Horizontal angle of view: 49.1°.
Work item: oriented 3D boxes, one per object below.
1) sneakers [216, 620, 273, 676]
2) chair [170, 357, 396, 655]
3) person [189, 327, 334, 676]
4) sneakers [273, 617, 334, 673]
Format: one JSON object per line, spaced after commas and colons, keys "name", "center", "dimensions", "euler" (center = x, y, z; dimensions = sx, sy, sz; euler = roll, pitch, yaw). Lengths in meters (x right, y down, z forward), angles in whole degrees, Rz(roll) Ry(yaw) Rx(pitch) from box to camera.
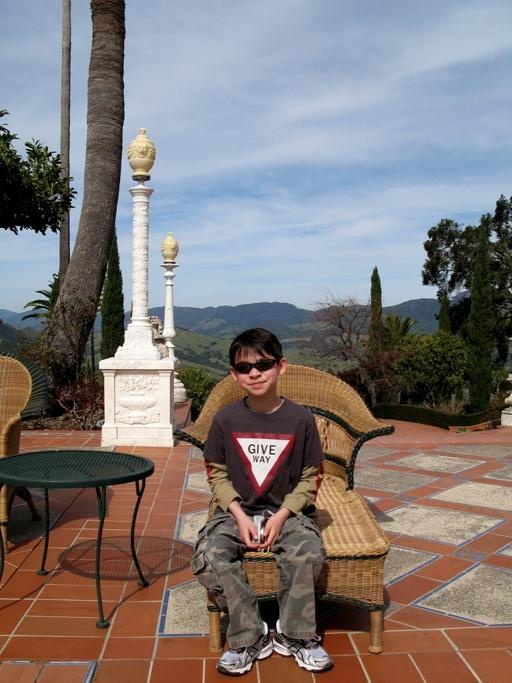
{"name": "sneakers", "center": [-0.029, 1.082, 1.953], "dimensions": [0.091, 0.105, 0.239], "euler": [-7, -23, 21]}
{"name": "chair", "center": [0.195, 0.664, 2.579], "dimensions": [0.885, 0.861, 1.081], "euler": [0, 10, 2]}
{"name": "person", "center": [0.018, 0.533, 2.054], "dimensions": [0.456, 1.162, 0.392], "euler": [1, -1, 4]}
{"name": "sneakers", "center": [0.161, 1.077, 1.983], "dimensions": [0.100, 0.117, 0.261], "euler": [15, -22, -29]}
